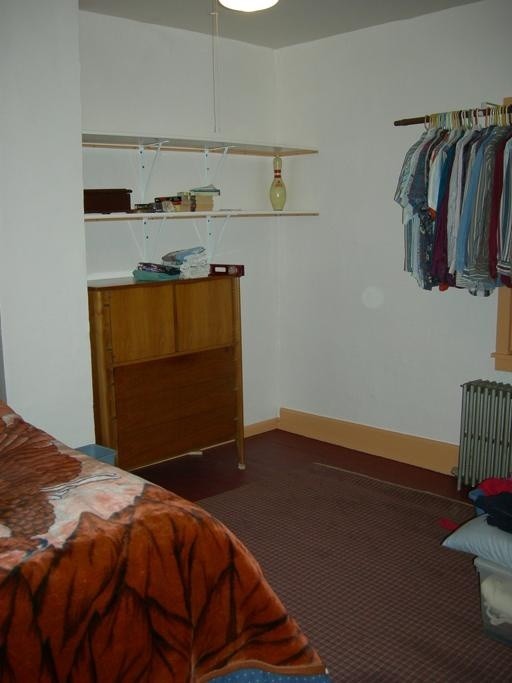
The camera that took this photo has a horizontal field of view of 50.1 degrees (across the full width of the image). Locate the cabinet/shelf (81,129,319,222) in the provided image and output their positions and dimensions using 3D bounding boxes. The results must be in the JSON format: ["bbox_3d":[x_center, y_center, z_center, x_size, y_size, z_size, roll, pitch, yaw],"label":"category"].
[{"bbox_3d":[-0.311,-1.041,3.349,1.626,0.454,0.411,-6,8,-39],"label":"cabinet/shelf"}]
